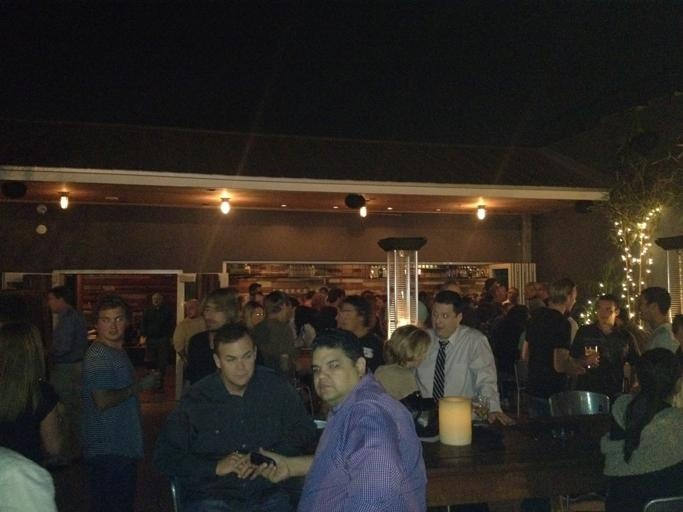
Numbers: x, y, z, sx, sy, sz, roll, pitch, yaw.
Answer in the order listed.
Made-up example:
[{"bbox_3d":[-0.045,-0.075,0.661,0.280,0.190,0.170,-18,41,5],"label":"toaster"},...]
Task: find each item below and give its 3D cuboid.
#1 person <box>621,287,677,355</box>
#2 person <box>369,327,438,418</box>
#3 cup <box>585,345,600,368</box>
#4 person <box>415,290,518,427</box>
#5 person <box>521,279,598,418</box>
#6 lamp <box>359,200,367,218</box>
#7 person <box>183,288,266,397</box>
[{"bbox_3d":[3.353,0.727,6.813,0.392,0.666,0.778,3,0,40],"label":"person"},{"bbox_3d":[0.468,0.864,4.820,0.493,0.691,0.703,1,1,-19],"label":"person"},{"bbox_3d":[2.499,1.014,6.244,0.122,0.235,0.502,-2,-8,23],"label":"cup"},{"bbox_3d":[0.892,0.848,5.403,1.148,0.894,0.575,3,18,27],"label":"person"},{"bbox_3d":[2.305,0.859,6.533,0.377,1.180,0.422,-12,27,13],"label":"person"},{"bbox_3d":[0.372,-0.819,10.659,0.210,0.214,0.066,1,-1,29],"label":"lamp"},{"bbox_3d":[-1.088,0.748,5.781,0.561,1.288,0.480,-2,31,-13],"label":"person"}]
